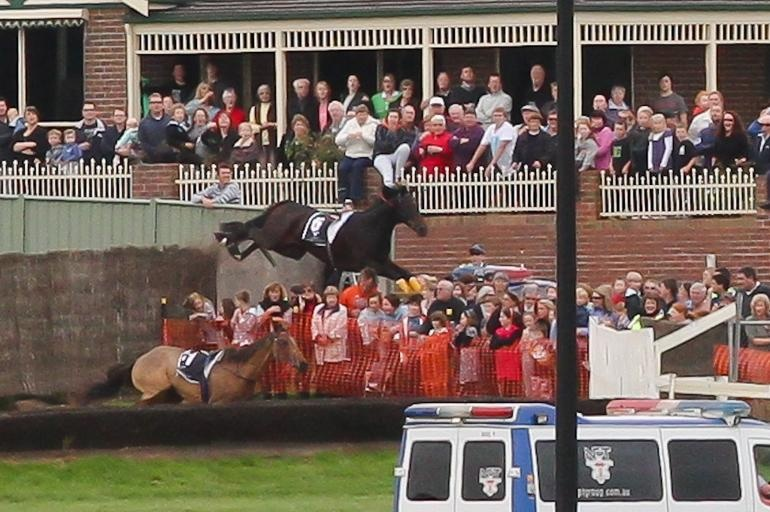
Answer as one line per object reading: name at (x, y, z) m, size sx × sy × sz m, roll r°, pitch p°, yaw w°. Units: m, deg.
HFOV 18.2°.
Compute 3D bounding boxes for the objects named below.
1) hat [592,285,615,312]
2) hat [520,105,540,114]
hat at (4.249, 0.782, 46.642) m, size 0.463 × 0.437 × 0.400 m, roll 12°, pitch -20°, yaw -29°
hat at (2.932, -2.966, 48.790) m, size 0.227 × 0.100 × 0.220 m, roll 5°, pitch -2°, yaw -14°
